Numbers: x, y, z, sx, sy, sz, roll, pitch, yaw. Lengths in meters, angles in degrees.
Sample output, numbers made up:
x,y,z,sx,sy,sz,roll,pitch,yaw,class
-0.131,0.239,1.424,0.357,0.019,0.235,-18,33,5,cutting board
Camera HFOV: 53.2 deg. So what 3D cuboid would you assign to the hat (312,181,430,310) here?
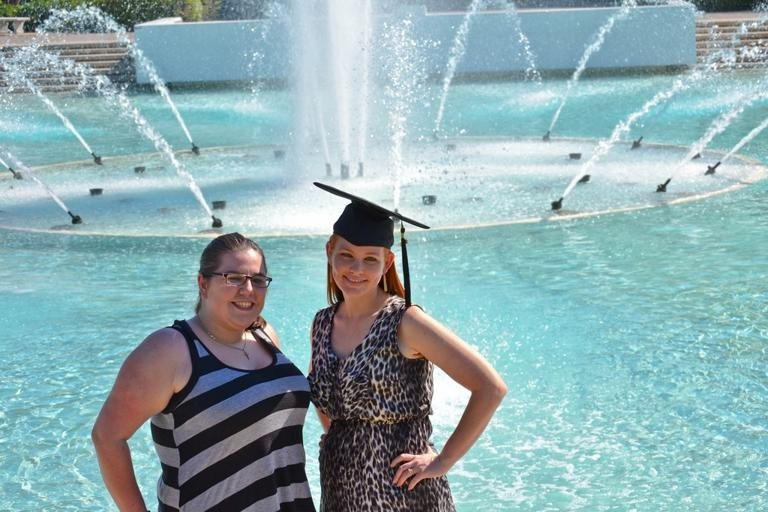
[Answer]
x,y,z,sx,sy,sz,roll,pitch,yaw,class
-0.005,-0.093,4.390,0.315,0.619,0.726,-10,-19,16,hat
